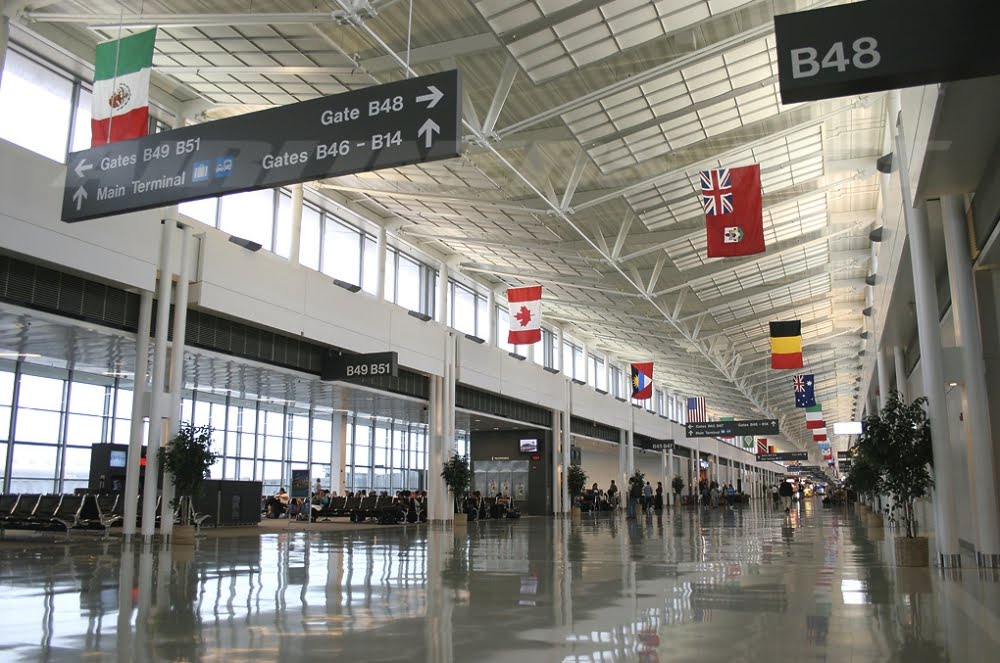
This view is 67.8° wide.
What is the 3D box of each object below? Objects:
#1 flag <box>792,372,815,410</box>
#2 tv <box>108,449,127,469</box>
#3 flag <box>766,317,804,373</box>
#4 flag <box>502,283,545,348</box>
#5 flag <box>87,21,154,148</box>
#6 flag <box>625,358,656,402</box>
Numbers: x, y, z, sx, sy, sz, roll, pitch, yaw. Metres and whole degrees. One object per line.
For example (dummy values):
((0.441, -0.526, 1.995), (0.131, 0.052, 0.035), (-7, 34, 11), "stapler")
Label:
((15.608, 2.975, 38.112), (0.866, 1.824, 2.836), (-3, -11, 20), "flag")
((-14.243, 4.750, 27.686), (0.081, 0.740, 0.798), (-15, -10, 38), "tv")
((11.591, 0.494, 30.101), (1.069, 2.006, 1.072), (-6, -12, 30), "flag")
((0.893, -0.566, 26.589), (1.160, 2.120, 1.041), (-1, -11, 8), "flag")
((-6.844, -4.395, 13.527), (1.405, 2.061, 0.175), (-3, -11, 19), "flag")
((7.032, 2.388, 36.785), (0.943, 2.103, 3.109), (-1, -11, 9), "flag")
